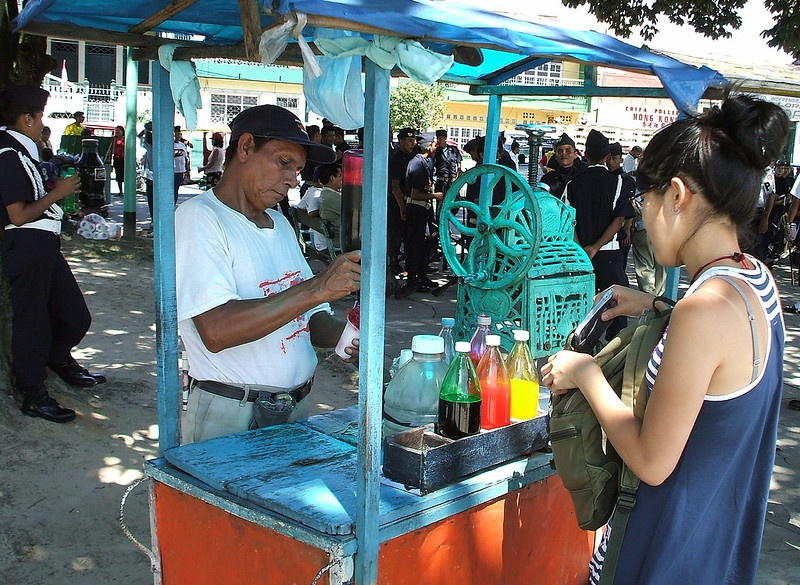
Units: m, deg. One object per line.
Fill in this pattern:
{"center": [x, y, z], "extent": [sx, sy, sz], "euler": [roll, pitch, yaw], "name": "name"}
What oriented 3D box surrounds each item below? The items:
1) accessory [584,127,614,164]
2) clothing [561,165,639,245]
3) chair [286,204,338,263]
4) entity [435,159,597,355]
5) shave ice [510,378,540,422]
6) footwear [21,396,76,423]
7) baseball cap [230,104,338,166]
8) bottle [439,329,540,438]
{"center": [2.204, -1.620, 6.850], "extent": [0.243, 0.325, 0.364], "euler": [-3, 29, 12], "name": "accessory"}
{"center": [2.142, -0.875, 6.804], "extent": [0.803, 0.967, 0.366], "euler": [-1, -10, 31], "name": "clothing"}
{"center": [-0.972, -0.697, 7.139], "extent": [0.383, 0.569, 0.855], "euler": [-13, 26, -24], "name": "chair"}
{"center": [0.933, -0.237, 4.742], "extent": [1.346, 1.412, 0.913], "euler": [-7, 12, -36], "name": "entity"}
{"center": [0.457, 0.401, 2.302], "extent": [0.120, 0.140, 0.138], "euler": [-1, 4, -16], "name": "shave ice"}
{"center": [-2.469, 0.823, 4.400], "extent": [0.349, 0.241, 0.151], "euler": [-1, 17, -32], "name": "footwear"}
{"center": [-0.484, -0.660, 2.590], "extent": [0.438, 0.240, 0.294], "euler": [6, -12, 14], "name": "baseball cap"}
{"center": [0.313, 0.342, 2.210], "extent": [0.349, 0.276, 0.118], "euler": [-8, 6, -41], "name": "bottle"}
